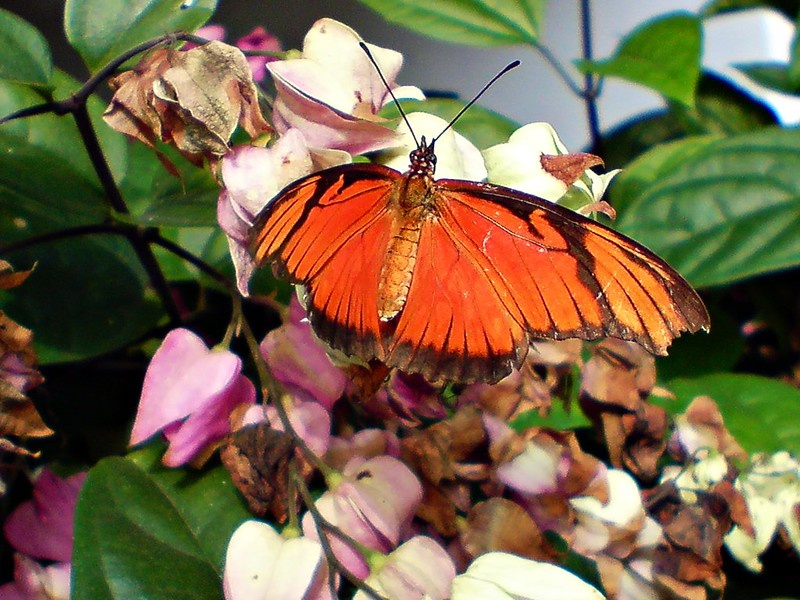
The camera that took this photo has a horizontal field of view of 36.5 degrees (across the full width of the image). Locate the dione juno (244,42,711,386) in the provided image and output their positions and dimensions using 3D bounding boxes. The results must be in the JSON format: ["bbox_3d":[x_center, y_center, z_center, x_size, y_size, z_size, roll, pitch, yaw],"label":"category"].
[{"bbox_3d":[0.006,-0.070,1.115,0.514,0.276,0.129,11,22,28],"label":"dione juno"}]
